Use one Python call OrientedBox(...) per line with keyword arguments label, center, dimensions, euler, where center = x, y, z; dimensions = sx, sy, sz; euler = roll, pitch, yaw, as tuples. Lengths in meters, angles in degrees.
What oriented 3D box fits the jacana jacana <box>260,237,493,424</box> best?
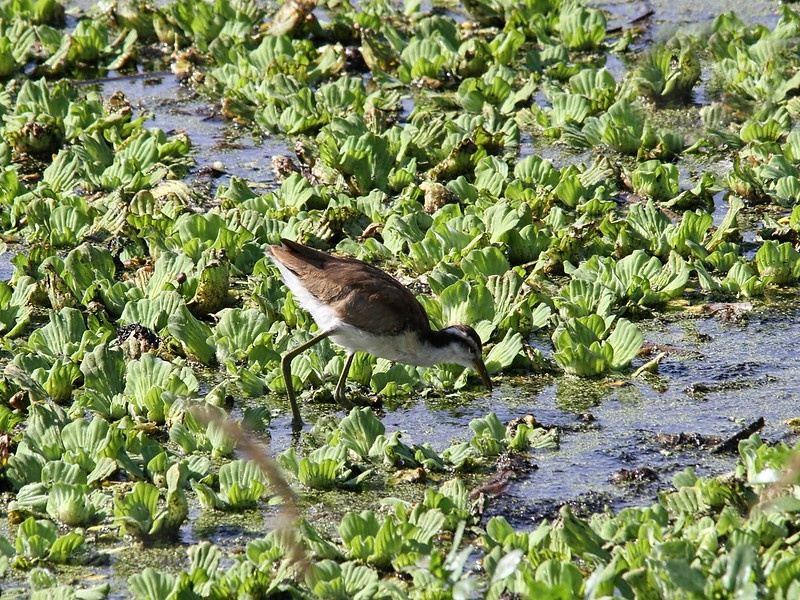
OrientedBox(label="jacana jacana", center=(-0.145, 0.039, 5.832), dimensions=(1.168, 0.708, 0.970), euler=(-8, 47, -4))
